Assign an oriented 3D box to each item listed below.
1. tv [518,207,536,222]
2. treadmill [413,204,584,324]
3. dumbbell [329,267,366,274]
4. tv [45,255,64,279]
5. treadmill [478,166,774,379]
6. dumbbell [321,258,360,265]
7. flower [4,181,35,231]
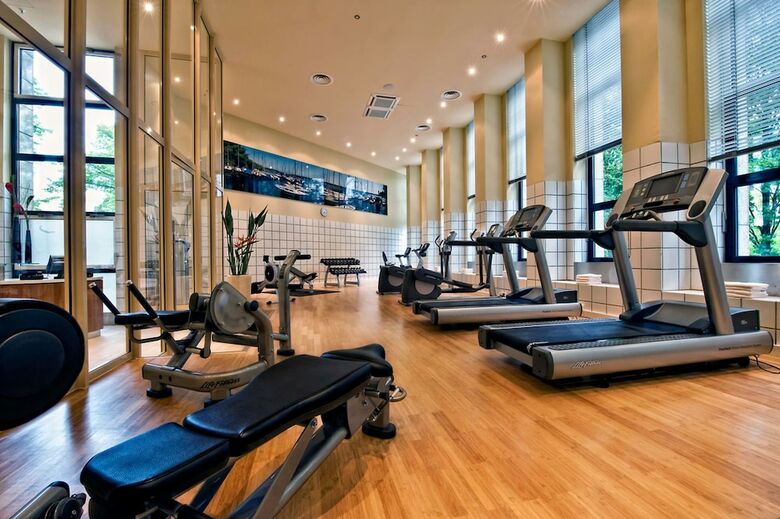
[{"bbox_3d":[1.639,-0.521,6.291,0.056,0.183,0.204,24,-9,-28],"label":"tv"},{"bbox_3d":[1.265,0.068,6.583,2.059,1.337,1.186,-2,-1,-13],"label":"treadmill"},{"bbox_3d":[-1.018,0.268,12.376,0.471,0.172,1.518,-4,-2,16],"label":"dumbbell"},{"bbox_3d":[-3.013,0.060,4.720,0.204,0.200,0.106,2,15,-16],"label":"tv"},{"bbox_3d":[2.402,0.207,5.743,2.929,2.267,1.668,2,-2,-16],"label":"treadmill"},{"bbox_3d":[-1.236,0.044,12.518,0.492,0.150,1.281,-4,-2,17],"label":"dumbbell"},{"bbox_3d":[-3.228,-0.480,4.594,0.212,0.274,0.114,-3,-1,-29],"label":"flower"}]
